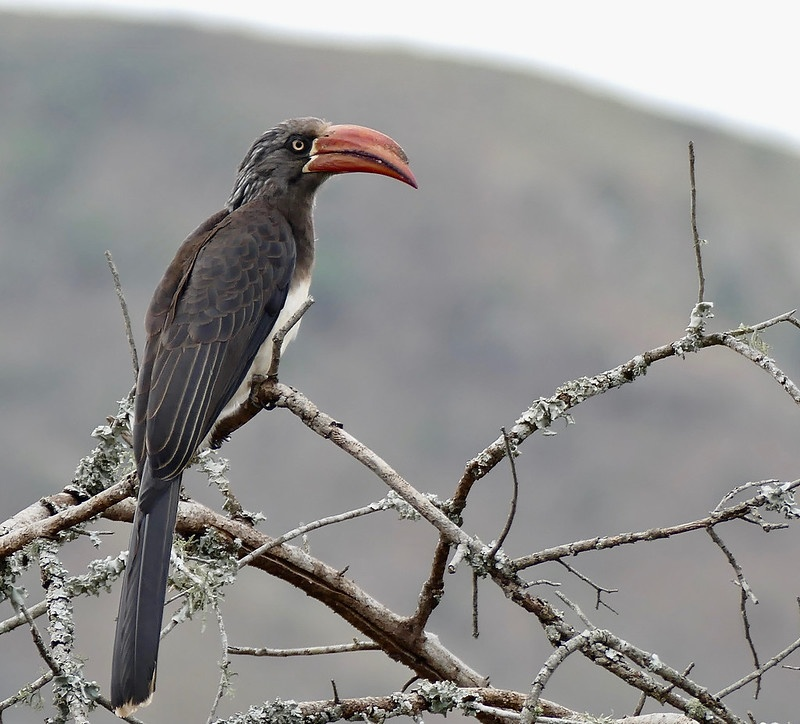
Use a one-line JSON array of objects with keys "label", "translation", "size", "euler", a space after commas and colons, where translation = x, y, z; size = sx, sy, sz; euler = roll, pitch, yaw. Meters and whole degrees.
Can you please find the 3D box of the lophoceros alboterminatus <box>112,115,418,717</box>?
[{"label": "lophoceros alboterminatus", "translation": [-1.112, 0.001, 9.117], "size": [0.954, 3.736, 2.303], "euler": [30, -59, -16]}]
